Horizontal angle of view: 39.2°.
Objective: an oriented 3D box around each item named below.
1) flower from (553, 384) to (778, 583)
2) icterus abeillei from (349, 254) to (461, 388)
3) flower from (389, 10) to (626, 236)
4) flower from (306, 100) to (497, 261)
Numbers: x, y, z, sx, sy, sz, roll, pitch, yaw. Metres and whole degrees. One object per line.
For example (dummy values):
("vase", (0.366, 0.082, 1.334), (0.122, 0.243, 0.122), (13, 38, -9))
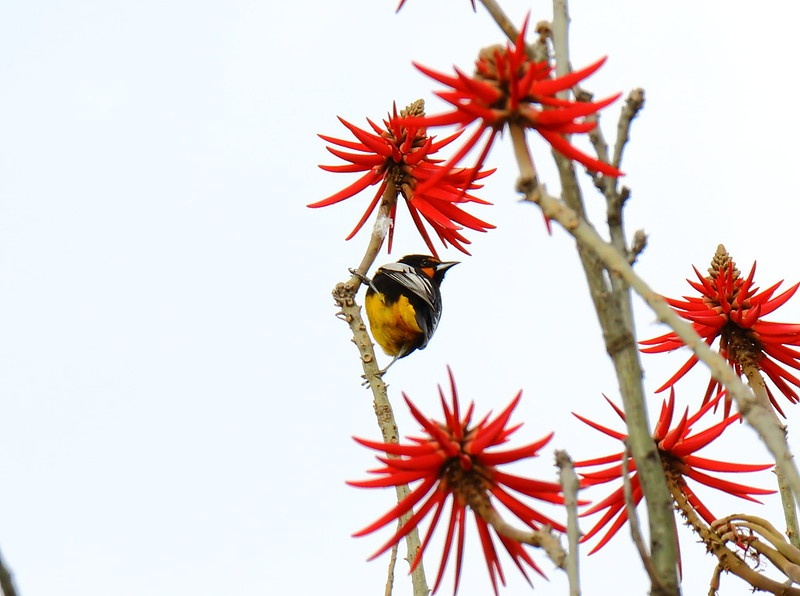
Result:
("flower", (0.465, 0.276, 2.016), (0.350, 0.375, 0.244), (3, -76, 46))
("icterus abeillei", (0.018, 0.033, 3.035), (0.149, 0.430, 0.286), (30, -80, -5))
("flower", (0.179, -0.298, 1.703), (0.361, 0.266, 0.395), (-4, -17, 2))
("flower", (0.002, -0.290, 2.354), (0.308, 0.331, 0.216), (-18, -31, -39))
